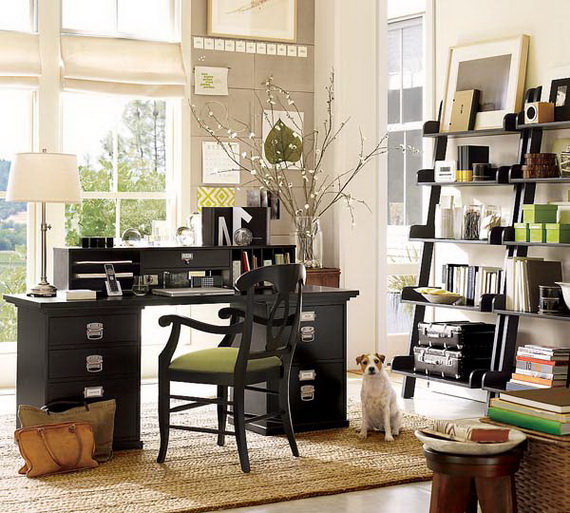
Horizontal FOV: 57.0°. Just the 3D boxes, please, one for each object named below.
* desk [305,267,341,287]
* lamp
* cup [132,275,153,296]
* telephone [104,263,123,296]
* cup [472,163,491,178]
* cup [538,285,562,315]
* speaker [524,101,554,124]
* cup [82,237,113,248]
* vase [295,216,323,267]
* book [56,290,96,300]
[{"bbox_3d":[0.387,0.146,5.080,0.299,0.286,0.187,-3,5,-37],"label":"desk"},{"bbox_3d":[-1.606,-0.209,3.534,0.424,0.918,1.210,1,-2,-22],"label":"lamp"},{"bbox_3d":[-0.832,0.167,3.122,0.121,0.121,0.104,1,2,-4],"label":"cup"},{"bbox_3d":[-1.035,0.142,3.135,0.084,0.028,0.260,2,39,-31],"label":"telephone"},{"bbox_3d":[1.435,-0.624,3.799,0.105,0.105,0.108,0,0,0],"label":"cup"},{"bbox_3d":[1.678,0.270,3.292,0.139,0.159,0.151,1,-3,0],"label":"cup"},{"bbox_3d":[1.691,-0.922,3.436,0.157,0.160,0.152,-3,4,-28],"label":"speaker"},{"bbox_3d":[-1.175,-0.092,3.277,0.193,0.064,0.076,2,-2,-23],"label":"cup"},{"bbox_3d":[0.233,-0.154,4.984,0.244,0.499,0.331,0,-2,1],"label":"vase"},{"bbox_3d":[-1.129,0.205,2.822,0.205,0.050,0.134,1,-2,-13],"label":"book"}]
